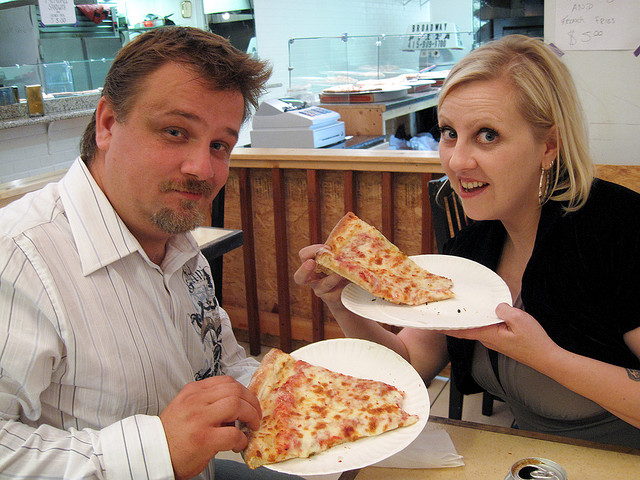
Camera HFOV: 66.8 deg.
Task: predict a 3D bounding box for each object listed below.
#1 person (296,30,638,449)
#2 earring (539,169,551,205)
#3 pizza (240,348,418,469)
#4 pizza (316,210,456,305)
[{"bbox_3d":[0.679,0.051,1.752,0.975,1.491,0.764,16,29,42],"label":"person"},{"bbox_3d":[0.803,-0.193,1.723,0.014,0.087,0.061,6,9,11],"label":"earring"},{"bbox_3d":[0.029,0.476,1.432,0.504,0.082,0.449,3,22,11],"label":"pizza"},{"bbox_3d":[0.221,0.103,1.770,0.446,0.099,0.306,22,34,21],"label":"pizza"}]
